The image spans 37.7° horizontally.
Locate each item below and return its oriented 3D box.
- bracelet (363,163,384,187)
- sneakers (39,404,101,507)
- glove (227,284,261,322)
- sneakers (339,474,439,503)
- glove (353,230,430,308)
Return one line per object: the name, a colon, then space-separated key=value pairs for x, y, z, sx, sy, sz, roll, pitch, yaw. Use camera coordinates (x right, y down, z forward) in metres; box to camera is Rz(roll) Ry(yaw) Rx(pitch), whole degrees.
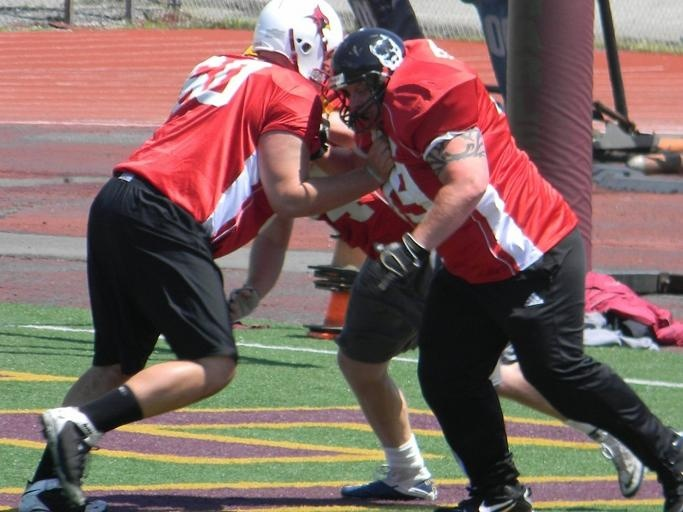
bracelet: x=0.150 y=-0.354 z=4.388 sx=0.091 sy=0.031 sz=0.065 roll=37 pitch=-4 yaw=-13
sneakers: x=-1.080 y=0.791 z=3.923 sx=0.236 sy=0.381 sz=0.159 roll=4 pitch=10 yaw=-2
glove: x=-0.450 y=0.228 z=4.732 sx=0.140 sy=0.181 sz=0.058 roll=45 pitch=-2 yaw=34
sneakers: x=0.228 y=1.092 z=4.713 sx=0.452 sy=0.104 sz=0.143 roll=3 pitch=-5 yaw=-4
glove: x=0.265 y=0.034 z=4.168 sx=0.205 sy=0.274 sz=0.180 roll=5 pitch=10 yaw=4
